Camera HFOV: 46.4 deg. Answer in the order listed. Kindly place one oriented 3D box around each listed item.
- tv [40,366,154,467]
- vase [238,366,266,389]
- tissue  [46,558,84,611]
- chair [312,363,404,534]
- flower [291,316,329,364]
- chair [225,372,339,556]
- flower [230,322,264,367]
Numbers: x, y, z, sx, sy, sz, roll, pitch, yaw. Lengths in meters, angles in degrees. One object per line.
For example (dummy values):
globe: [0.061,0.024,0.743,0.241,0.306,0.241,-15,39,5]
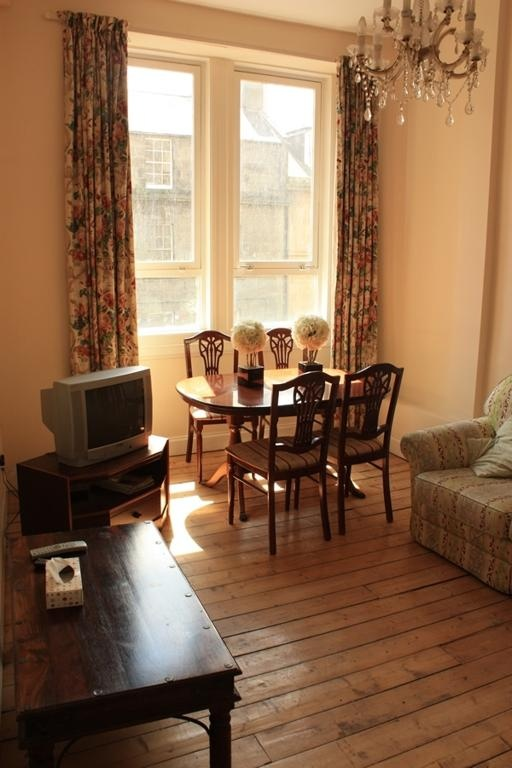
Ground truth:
tv: [-0.777,0.147,3.000,0.323,0.411,0.476,11,17,43]
vase: [-0.028,-0.059,3.523,0.130,0.138,0.134,-7,6,3]
tissue : [-0.537,0.515,1.620,0.094,0.060,0.191,1,22,-26]
chair: [0.533,0.305,3.421,0.508,0.970,0.473,15,23,41]
flower: [0.317,-0.268,3.611,0.196,0.298,0.306,0,9,-2]
chair: [0.118,0.361,3.190,0.462,0.943,0.527,-4,12,-23]
flower: [-0.022,-0.237,3.547,0.231,0.319,0.236,0,4,9]
